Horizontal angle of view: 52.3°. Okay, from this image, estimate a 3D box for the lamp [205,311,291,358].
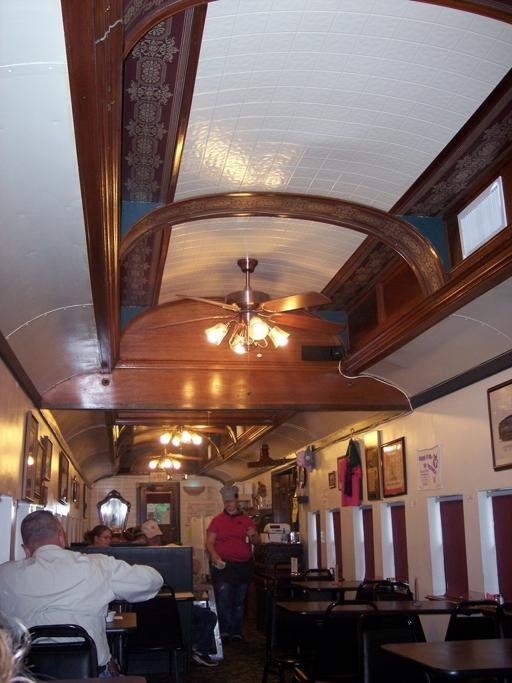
[{"bbox_3d":[-0.097,-0.144,6.039,0.986,0.405,0.850,-1,-11,4],"label":"lamp"}]

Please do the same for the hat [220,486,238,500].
[{"bbox_3d":[-0.428,2.396,8.336,0.242,0.115,0.331,0,12,-2],"label":"hat"}]

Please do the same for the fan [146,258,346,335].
[{"bbox_3d":[-0.056,-0.340,6.199,1.491,0.737,1.566,-4,-19,17],"label":"fan"}]

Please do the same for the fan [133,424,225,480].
[{"bbox_3d":[-3.151,3.716,18.218,3.148,1.085,4.267,0,-24,-5],"label":"fan"}]

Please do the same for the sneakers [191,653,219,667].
[{"bbox_3d":[-0.673,4.391,7.179,0.382,0.151,0.241,-10,-18,29],"label":"sneakers"}]
